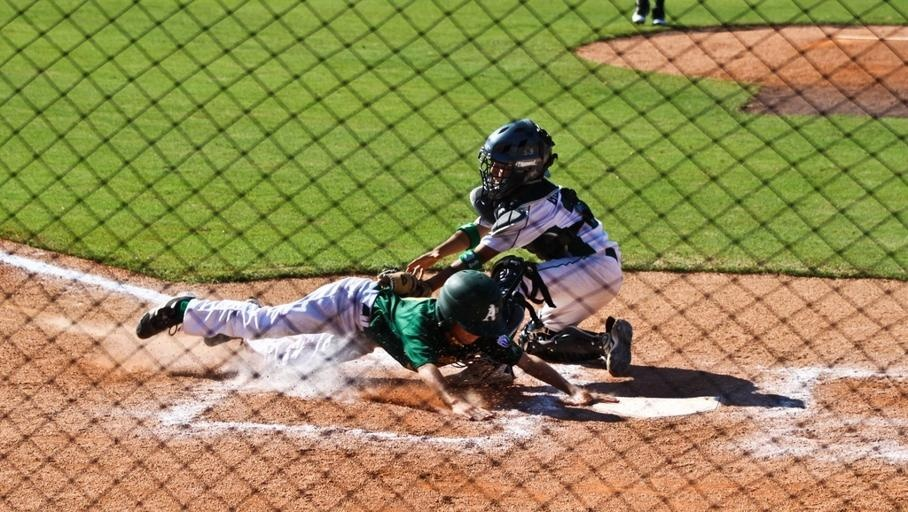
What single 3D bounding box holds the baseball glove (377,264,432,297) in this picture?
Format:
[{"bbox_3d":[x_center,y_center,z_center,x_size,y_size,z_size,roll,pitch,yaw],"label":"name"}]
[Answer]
[{"bbox_3d":[-0.538,0.287,11.995,0.335,0.429,0.206,25,102,5],"label":"baseball glove"}]
